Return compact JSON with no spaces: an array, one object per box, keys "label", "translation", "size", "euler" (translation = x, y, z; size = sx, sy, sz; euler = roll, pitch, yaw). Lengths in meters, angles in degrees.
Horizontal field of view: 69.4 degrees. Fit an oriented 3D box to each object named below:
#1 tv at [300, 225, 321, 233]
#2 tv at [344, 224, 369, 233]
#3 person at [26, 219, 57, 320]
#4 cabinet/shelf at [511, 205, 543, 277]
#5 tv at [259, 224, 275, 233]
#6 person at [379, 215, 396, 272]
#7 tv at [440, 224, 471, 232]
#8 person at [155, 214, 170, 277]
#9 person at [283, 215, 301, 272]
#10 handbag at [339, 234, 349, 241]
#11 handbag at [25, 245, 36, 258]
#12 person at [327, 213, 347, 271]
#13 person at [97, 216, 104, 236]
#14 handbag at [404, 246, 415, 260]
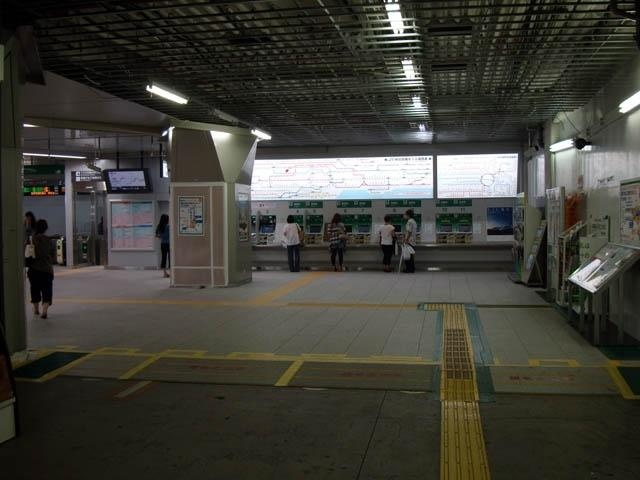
[{"label":"tv","translation":[-0.303,-0.395,14.947],"size":[0.776,0.238,0.258],"euler":[6,8,-1]},{"label":"tv","translation":[1.175,-0.410,14.705],"size":[0.828,0.317,0.216],"euler":[-1,3,-1]},{"label":"person","translation":[-4.654,0.476,7.688],"size":[0.410,1.649,0.482],"euler":[-2,3,-37]},{"label":"cabinet/shelf","translation":[5.110,-0.007,11.406],"size":[0.536,1.598,1.736],"euler":[3,7,17]},{"label":"tv","translation":[-1.736,-0.431,15.192],"size":[0.550,0.307,0.253],"euler":[-1,3,-1]},{"label":"person","translation":[1.987,0.081,13.854],"size":[0.446,1.685,0.704],"euler":[-1,2,7]},{"label":"tv","translation":[4.076,-0.392,14.132],"size":[1.050,0.234,0.161],"euler":[0,3,13]},{"label":"person","translation":[-4.633,0.117,13.580],"size":[0.340,1.797,1.156],"euler":[-2,3,-21]},{"label":"person","translation":[-0.851,0.088,14.115],"size":[0.567,1.729,0.726],"euler":[-1,2,-6]},{"label":"handbag","translation":[0.722,-0.119,14.092],"size":[0.180,0.255,0.591],"euler":[0,3,15]},{"label":"handbag","translation":[-4.662,0.165,7.424],"size":[0.125,0.221,0.086],"euler":[-2,3,-33]},{"label":"person","translation":[0.516,0.043,14.172],"size":[0.602,1.758,0.707],"euler":[-1,2,0]},{"label":"person","translation":[-7.597,-0.512,15.982],"size":[0.207,0.688,0.853],"euler":[-2,3,-26]},{"label":"handbag","translation":[2.590,0.334,13.666],"size":[0.347,0.431,0.133],"euler":[-2,2,-26]}]
